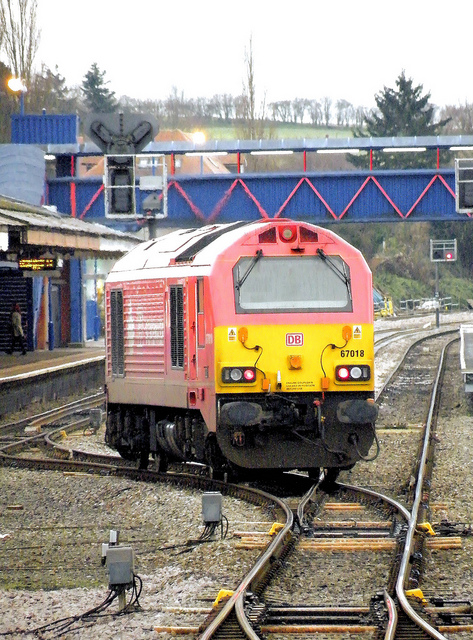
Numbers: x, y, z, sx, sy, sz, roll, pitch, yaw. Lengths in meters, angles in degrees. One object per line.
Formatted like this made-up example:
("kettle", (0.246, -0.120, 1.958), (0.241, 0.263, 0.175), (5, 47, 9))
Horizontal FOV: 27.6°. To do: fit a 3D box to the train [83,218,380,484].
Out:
("train", (-0.506, 0.419, 12.780), (1.551, 3.065, 5.401), (2, -4, -25))
